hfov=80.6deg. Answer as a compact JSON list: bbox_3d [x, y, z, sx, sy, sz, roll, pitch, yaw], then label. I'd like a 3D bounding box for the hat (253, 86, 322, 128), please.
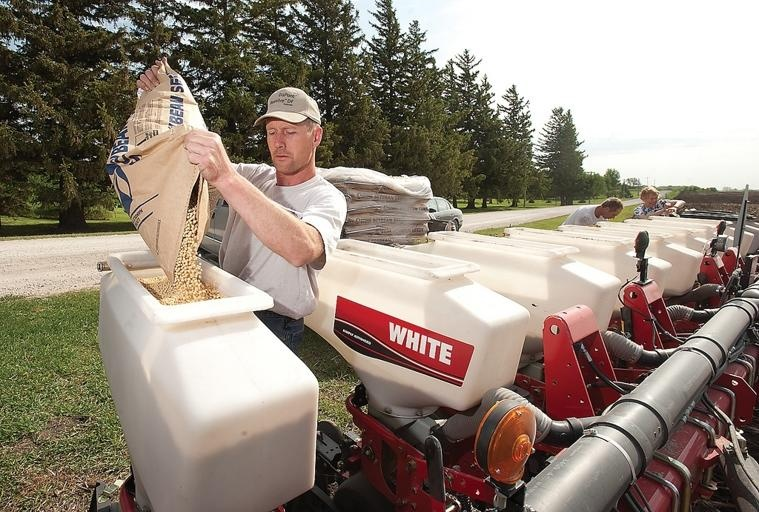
[{"bbox_3d":[-0.607,-0.926,3.018,0.321,0.242,0.451,9,8,24],"label":"hat"}]

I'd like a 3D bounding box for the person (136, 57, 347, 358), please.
[{"bbox_3d":[-0.668,-0.206,2.901,0.861,1.814,1.050,1,9,-10],"label":"person"}]

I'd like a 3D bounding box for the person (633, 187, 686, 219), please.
[{"bbox_3d":[5.657,-1.099,9.198,0.557,0.570,1.651,9,10,37],"label":"person"}]

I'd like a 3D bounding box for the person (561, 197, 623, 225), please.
[{"bbox_3d":[3.493,-0.729,7.309,0.757,0.445,0.438,6,9,22],"label":"person"}]
